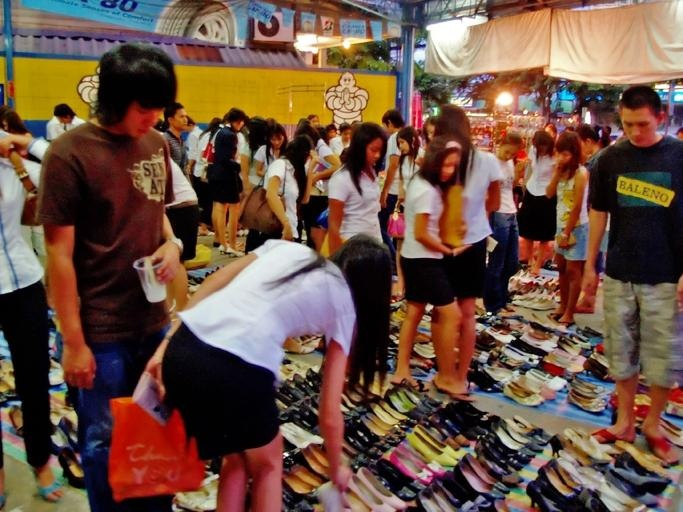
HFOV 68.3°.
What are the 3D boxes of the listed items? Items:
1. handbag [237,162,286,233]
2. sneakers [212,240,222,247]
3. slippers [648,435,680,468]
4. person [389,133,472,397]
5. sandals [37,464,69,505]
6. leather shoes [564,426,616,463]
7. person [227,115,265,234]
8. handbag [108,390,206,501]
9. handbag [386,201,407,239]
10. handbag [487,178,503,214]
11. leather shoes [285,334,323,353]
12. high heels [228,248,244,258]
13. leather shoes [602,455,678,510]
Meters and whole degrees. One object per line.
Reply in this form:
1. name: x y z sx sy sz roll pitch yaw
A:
1. handbag: -0.792 -0.493 4.590 0.193 0.459 0.437 28 5 35
2. sneakers: -1.977 -0.159 8.075 0.126 0.124 0.093 9 34 12
3. slippers: 2.030 1.220 3.227 0.093 0.105 0.261 -17 23 -1
4. person: 0.661 0.128 3.656 0.536 1.901 0.361 3 9 15
5. sandals: -1.558 1.241 2.728 0.087 0.110 0.260 -5 5 -42
6. leather shoes: 1.548 1.215 3.180 0.122 0.079 0.271 -12 34 -39
7. person: -1.220 -1.318 6.980 0.520 1.676 0.453 -12 55 -15
8. handbag: -0.710 0.749 1.956 0.367 0.389 0.144 -2 13 3
9. handbag: 0.564 -0.432 5.990 0.185 0.431 0.395 -3 7 -27
10. handbag: 1.157 -0.465 3.886 0.167 0.228 0.234 1 16 5
11. leather shoes: -0.357 0.823 4.603 0.250 0.132 0.348 0 6 -15
12. high heels: -1.568 -0.039 7.456 0.314 0.158 0.110 5 1 -12
13. leather shoes: 1.729 1.343 2.951 0.217 0.094 0.296 -41 41 -23
